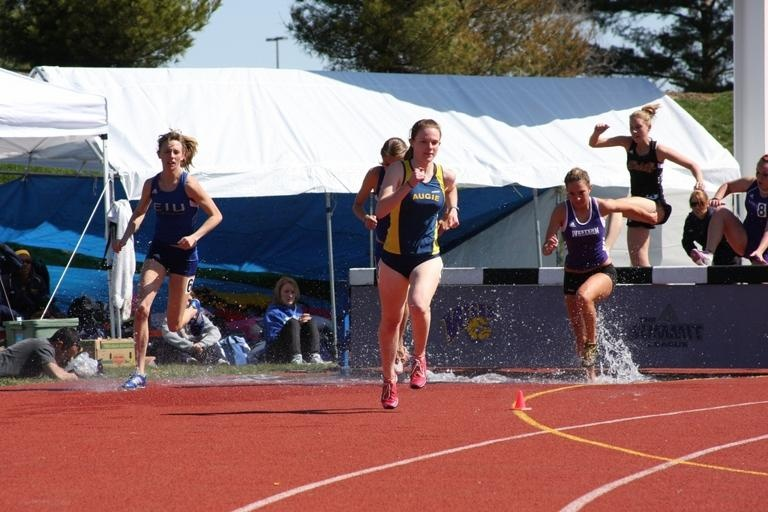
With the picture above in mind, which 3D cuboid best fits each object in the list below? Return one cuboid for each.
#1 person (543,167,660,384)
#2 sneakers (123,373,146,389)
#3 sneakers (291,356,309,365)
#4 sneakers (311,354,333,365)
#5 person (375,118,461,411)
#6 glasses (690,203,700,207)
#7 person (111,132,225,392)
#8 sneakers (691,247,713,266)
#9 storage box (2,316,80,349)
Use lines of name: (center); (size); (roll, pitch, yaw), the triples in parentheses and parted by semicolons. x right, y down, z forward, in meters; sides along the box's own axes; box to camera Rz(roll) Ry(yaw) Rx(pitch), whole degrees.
person: (2.647, 0.236, 14.290); (1.588, 2.667, 0.626); (5, -5, -41)
sneakers: (-3.050, 1.541, 13.870); (0.351, 0.161, 0.125); (-1, 4, -22)
sneakers: (-1.221, 1.541, 16.881); (0.317, 0.135, 0.108); (7, 3, -3)
sneakers: (-0.966, 1.554, 16.991); (0.428, 0.185, 0.135); (-1, -2, 10)
person: (0.367, 0.105, 12.354); (0.858, 3.141, 1.044); (1, -4, 3)
glasses: (4.484, -0.737, 16.317); (0.065, 0.051, 0.050); (-11, 2, 1)
person: (-2.618, 0.036, 13.842); (1.091, 3.200, 1.276); (2, -4, -13)
sneakers: (4.352, 0.050, 15.348); (0.386, 0.176, 0.137); (35, 15, -47)
storage box: (-4.889, 1.025, 15.996); (0.551, 0.347, 0.564); (-3, -2, 37)
